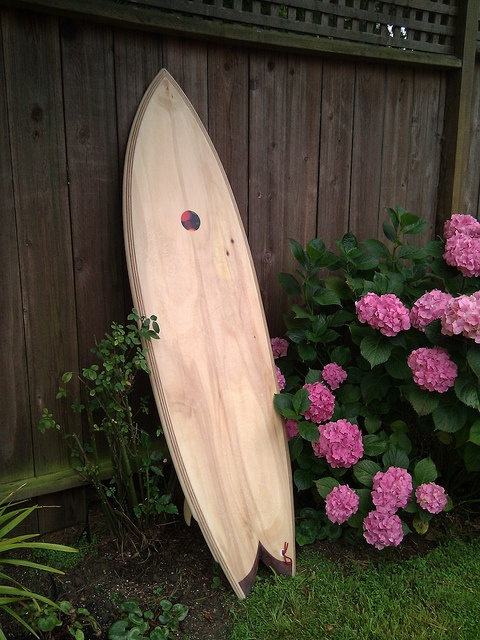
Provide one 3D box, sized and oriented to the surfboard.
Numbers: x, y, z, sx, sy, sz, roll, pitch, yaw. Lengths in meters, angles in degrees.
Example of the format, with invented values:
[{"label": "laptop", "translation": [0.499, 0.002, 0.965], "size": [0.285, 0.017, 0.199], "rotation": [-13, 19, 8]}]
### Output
[{"label": "surfboard", "translation": [-0.079, -0.023, 1.739], "size": [0.486, 1.608, 0.673], "rotation": [-4, 14, -22]}]
